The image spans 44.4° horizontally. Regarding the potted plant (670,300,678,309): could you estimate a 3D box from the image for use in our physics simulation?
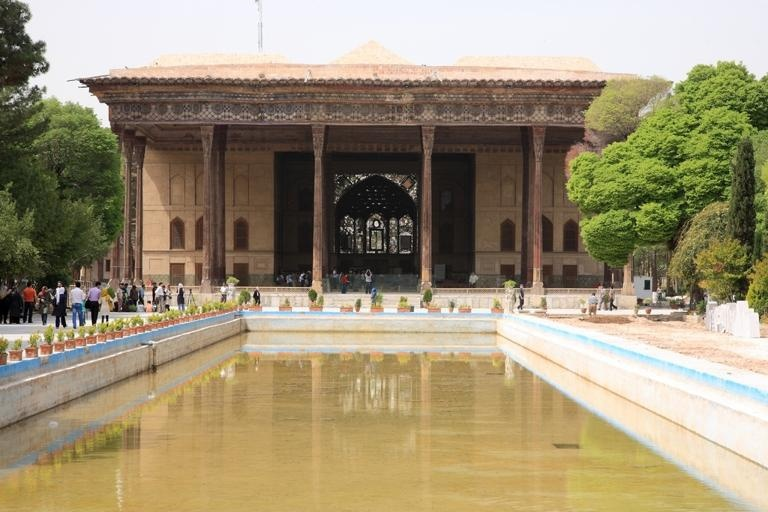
[{"bbox_3d":[13.233,2.251,42.977,0.301,0.268,0.306,3,-4,-6],"label":"potted plant"}]

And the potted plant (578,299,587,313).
[{"bbox_3d":[9.244,2.353,43.942,0.384,0.675,0.349,-1,-8,7],"label":"potted plant"}]
